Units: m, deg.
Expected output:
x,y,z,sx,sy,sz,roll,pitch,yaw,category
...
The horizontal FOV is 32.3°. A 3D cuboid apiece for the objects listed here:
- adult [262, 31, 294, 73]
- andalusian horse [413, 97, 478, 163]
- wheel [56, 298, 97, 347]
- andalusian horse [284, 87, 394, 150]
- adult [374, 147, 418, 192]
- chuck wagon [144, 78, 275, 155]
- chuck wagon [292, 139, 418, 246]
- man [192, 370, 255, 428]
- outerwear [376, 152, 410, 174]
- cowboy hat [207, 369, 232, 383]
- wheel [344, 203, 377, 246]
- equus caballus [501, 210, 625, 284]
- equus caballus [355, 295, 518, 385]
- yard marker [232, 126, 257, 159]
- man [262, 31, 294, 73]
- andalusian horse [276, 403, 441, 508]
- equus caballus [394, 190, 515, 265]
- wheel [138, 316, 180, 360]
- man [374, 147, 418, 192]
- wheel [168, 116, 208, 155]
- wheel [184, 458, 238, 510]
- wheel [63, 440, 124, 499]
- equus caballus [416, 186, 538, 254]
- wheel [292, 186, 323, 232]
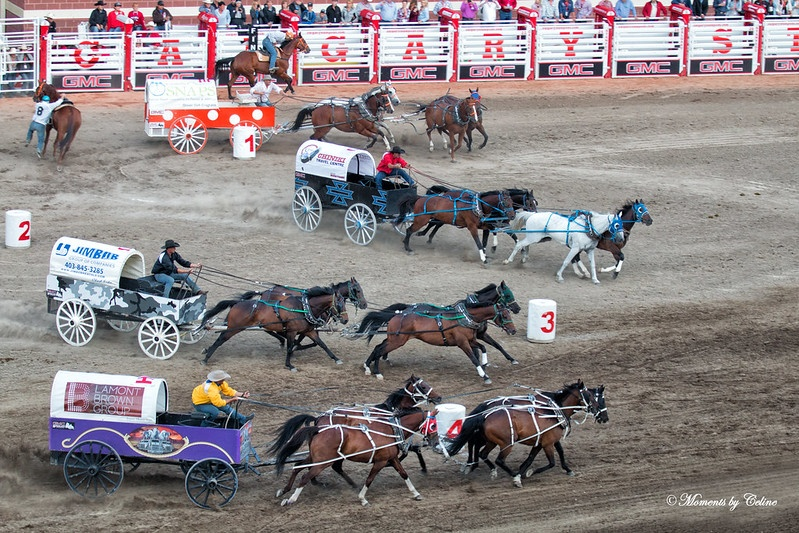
x,y,z,sx,sy,sz,roll,pitch,yaw,category
-3.841,-6.691,42.849,0.504,1.331,0.998,7,13,23,adult
1.484,-4.182,41.586,0.712,1.961,1.946,-9,15,-39,andalusian horse
-7.368,1.266,31.476,0.980,0.912,0.245,39,25,4,wheel
-1.876,-4.464,41.238,4.221,1.627,1.089,5,9,30,andalusian horse
-0.122,-2.579,36.305,1.158,1.030,0.807,1,14,3,adult
-5.537,-4.573,41.471,4.389,1.868,2.002,1,6,-10,chuck wagon
-1.262,-1.851,36.883,3.745,2.050,1.928,11,11,28,chuck wagon
-3.736,2.723,28.049,1.716,1.462,0.731,5,45,-10,man
-0.227,-2.750,36.382,0.739,0.560,0.454,1,12,-4,outerwear
-3.680,2.305,28.134,0.401,0.080,0.295,-2,24,-16,cowboy hat
-1.032,-1.136,36.671,0.361,1.067,1.348,-20,16,-40,wheel
4.318,-0.586,35.737,3.679,1.710,0.872,8,10,41,equus caballus
0.731,1.646,31.329,4.021,1.689,1.110,0,0,31,equus caballus
-4.617,-3.691,40.849,1.144,0.893,0.959,-2,14,-11,yard marker
-3.837,-6.692,42.859,0.486,1.331,1.024,8,13,25,man
-0.880,3.863,27.931,3.755,1.655,0.858,1,-3,-19,andalusian horse
1.552,-1.167,36.106,3.636,1.647,0.825,6,10,36,equus caballus
-5.436,1.622,31.260,1.141,0.850,0.239,13,17,20,wheel
-0.112,-2.596,36.317,1.151,1.011,0.836,0,15,0,man
-6.325,-3.935,41.014,1.862,1.440,0.102,1,42,-20,wheel
-3.775,4.367,27.660,0.915,0.874,0.154,42,14,4,wheel
-6.147,4.083,27.716,1.600,1.126,0.301,2,8,0,wheel
1.635,-1.277,36.805,3.724,1.709,0.708,7,19,38,equus caballus
-2.525,-1.499,37.368,1.200,0.920,0.328,4,-1,44,wheel
